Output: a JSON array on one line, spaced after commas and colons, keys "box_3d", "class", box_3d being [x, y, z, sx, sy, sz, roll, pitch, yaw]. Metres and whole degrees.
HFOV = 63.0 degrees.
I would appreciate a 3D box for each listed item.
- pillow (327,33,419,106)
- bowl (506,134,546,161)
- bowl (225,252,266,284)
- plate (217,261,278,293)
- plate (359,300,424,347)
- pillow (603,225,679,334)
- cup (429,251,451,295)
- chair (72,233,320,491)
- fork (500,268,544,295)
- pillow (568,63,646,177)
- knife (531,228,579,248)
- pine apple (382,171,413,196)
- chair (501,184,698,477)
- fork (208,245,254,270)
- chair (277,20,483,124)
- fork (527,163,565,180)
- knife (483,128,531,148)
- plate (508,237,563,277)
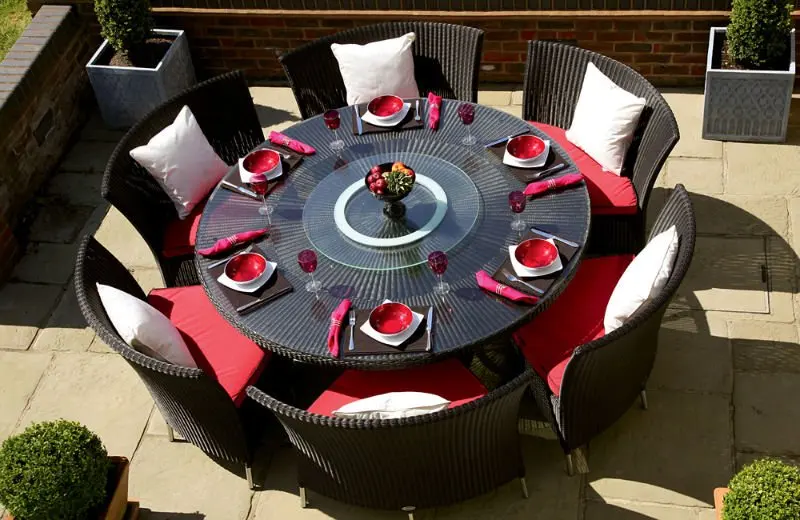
[{"box_3d": [-0.222, -1.842, 6.198, 0.734, 0.282, 0.691, -11, 92, 3], "class": "pillow"}, {"box_3d": [1.038, -0.924, 5.305, 0.245, 0.068, 0.244, -5, 57, 7], "class": "bowl"}, {"box_3d": [-1.135, 0.049, 4.831, 0.238, 0.080, 0.242, -1, 53, 1], "class": "bowl"}, {"box_3d": [-1.113, 0.138, 4.753, 0.437, 0.089, 0.215, -9, 48, -4], "class": "plate"}, {"box_3d": [-0.050, 0.422, 4.476, 0.336, 0.122, 0.353, 30, 57, 27], "class": "plate"}, {"box_3d": [1.681, 0.110, 4.491, 0.191, 0.714, 0.712, 26, 59, -5], "class": "pillow"}, {"box_3d": [0.277, 0.042, 4.561, 0.133, 0.325, 0.239, -1, 48, 4], "class": "cup"}, {"box_3d": [-1.462, 0.806, 4.859, 0.983, 1.404, 1.012, -39, 75, -24], "class": "chair"}, {"box_3d": [0.867, 0.150, 4.582, 0.247, 0.035, 0.045, 37, 78, 8], "class": "fork"}, {"box_3d": [1.773, -1.168, 5.543, 0.385, 0.745, 0.775, -28, 50, -20], "class": "pillow"}, {"box_3d": [1.138, -0.161, 4.779, 0.305, 0.013, 0.042, 23, 57, 14], "class": "knife"}, {"box_3d": [-0.010, -0.574, 4.818, 0.173, 0.074, 0.188, -9, 52, -6], "class": "pine apple"}, {"box_3d": [1.424, 0.578, 4.775, 1.116, 1.574, 1.284, -13, 49, 1], "class": "chair"}, {"box_3d": [-1.266, -0.016, 4.892, 0.289, 0.033, 0.041, -30, 62, 1], "class": "fork"}, {"box_3d": [-0.115, -1.808, 6.253, 1.428, 0.719, 0.783, -11, 52, 6], "class": "chair"}, {"box_3d": [1.153, -0.705, 5.164, 0.229, 0.042, 0.054, -28, 88, -8], "class": "fork"}, {"box_3d": [0.896, -1.016, 5.412, 0.373, 0.026, 0.054, -29, 46, -33], "class": "knife"}, {"box_3d": [0.976, -0.022, 4.687, 0.279, 0.066, 0.320, -4, 50, 4], "class": "plate"}]
